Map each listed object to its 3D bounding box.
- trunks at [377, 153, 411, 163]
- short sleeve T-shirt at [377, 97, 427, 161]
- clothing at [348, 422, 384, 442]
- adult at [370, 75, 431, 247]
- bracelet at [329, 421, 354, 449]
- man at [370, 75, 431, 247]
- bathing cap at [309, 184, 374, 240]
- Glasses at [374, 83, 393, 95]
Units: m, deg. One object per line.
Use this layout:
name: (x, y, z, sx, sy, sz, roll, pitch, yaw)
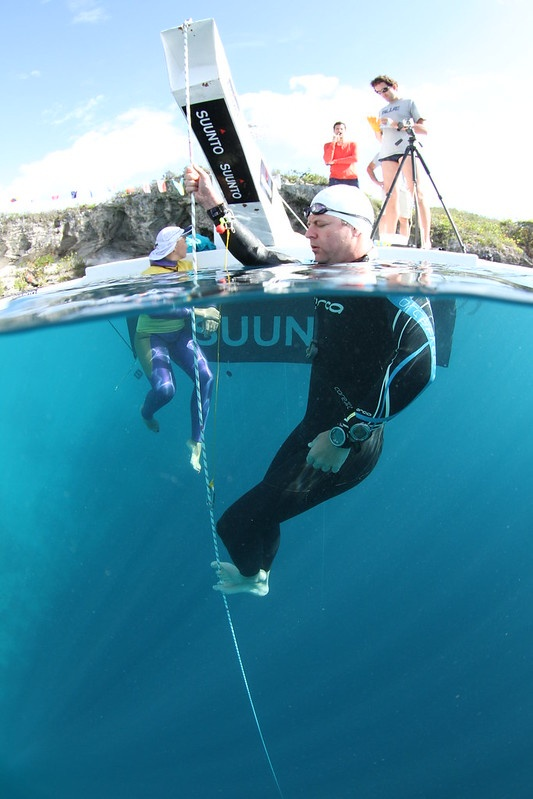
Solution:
trunks: (1.330, -2.579, 7.233, 0.235, 0.056, 0.139, 3, 2, 29)
short sleeve T-shirt: (1.387, -2.798, 7.037, 0.237, 0.594, 0.589, -12, 25, -9)
clothing: (0.566, 0.187, 3.832, 0.115, 0.085, 0.162, 1, 25, 30)
adult: (1.376, -2.579, 7.171, 0.508, 1.551, 0.450, 7, 26, 38)
bracelet: (0.409, 0.221, 3.879, 0.128, 0.158, 0.227, 5, -7, -12)
man: (1.385, -2.591, 7.158, 0.487, 1.499, 0.429, 3, 23, 34)
bathing cap: (0.462, -1.137, 3.961, 0.335, 0.227, 0.290, 9, 29, -16)
Glasses: (1.214, -3.212, 6.984, 0.119, 0.107, 0.190, 14, 32, 38)
